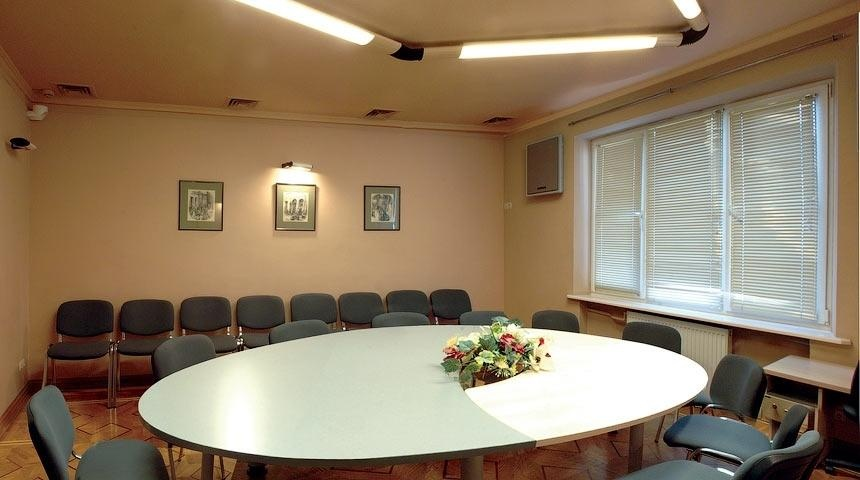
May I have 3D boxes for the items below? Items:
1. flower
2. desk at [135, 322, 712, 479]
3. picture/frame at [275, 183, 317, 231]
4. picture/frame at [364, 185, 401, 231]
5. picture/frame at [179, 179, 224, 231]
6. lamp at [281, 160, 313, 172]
[{"bbox_3d":[0.698,1.231,5.785,1.132,0.504,1.015,0,-8,34],"label":"flower"},{"bbox_3d":[-0.139,1.523,5.498,5.093,1.236,1.980,-1,-1,-14],"label":"desk"},{"bbox_3d":[-2.017,-0.486,8.220,0.792,0.802,0.085,0,-5,-19],"label":"picture/frame"},{"bbox_3d":[-0.731,-0.491,8.581,0.617,0.669,0.016,1,2,20],"label":"picture/frame"},{"bbox_3d":[-3.306,-0.495,7.944,0.833,0.917,0.039,0,4,-18],"label":"picture/frame"},{"bbox_3d":[-1.946,-1.111,8.108,0.463,0.137,0.341,-1,-1,-13],"label":"lamp"}]
